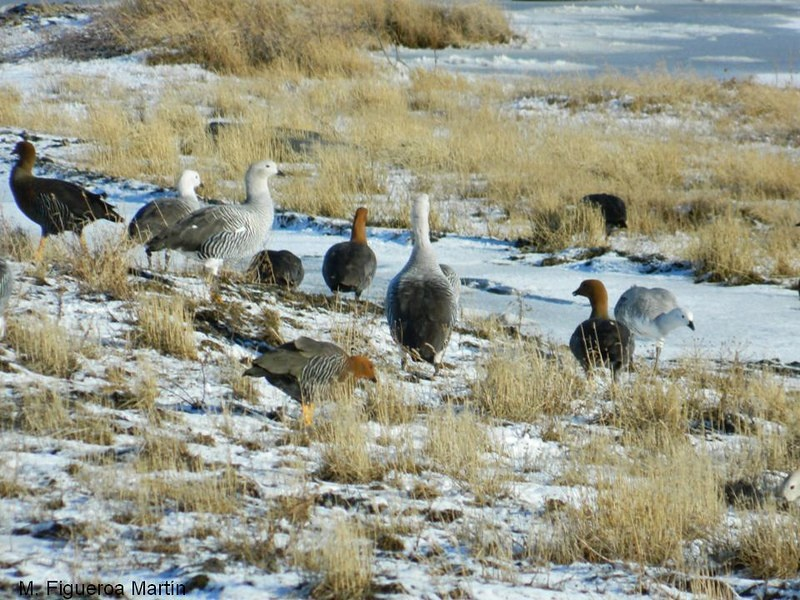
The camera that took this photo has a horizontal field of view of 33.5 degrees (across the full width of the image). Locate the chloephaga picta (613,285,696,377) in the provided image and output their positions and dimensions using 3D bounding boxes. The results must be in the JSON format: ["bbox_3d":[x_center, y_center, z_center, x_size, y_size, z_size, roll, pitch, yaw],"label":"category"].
[{"bbox_3d":[4.135,0.272,22.041,0.688,1.302,1.947,1,39,-12],"label":"chloephaga picta"}]

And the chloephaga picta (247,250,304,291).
[{"bbox_3d":[-2.162,-0.518,23.097,0.774,0.642,0.602,17,-3,-24],"label":"chloephaga picta"}]

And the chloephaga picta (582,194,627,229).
[{"bbox_3d":[4.194,-1.774,26.960,0.809,0.673,0.580,1,9,7],"label":"chloephaga picta"}]
